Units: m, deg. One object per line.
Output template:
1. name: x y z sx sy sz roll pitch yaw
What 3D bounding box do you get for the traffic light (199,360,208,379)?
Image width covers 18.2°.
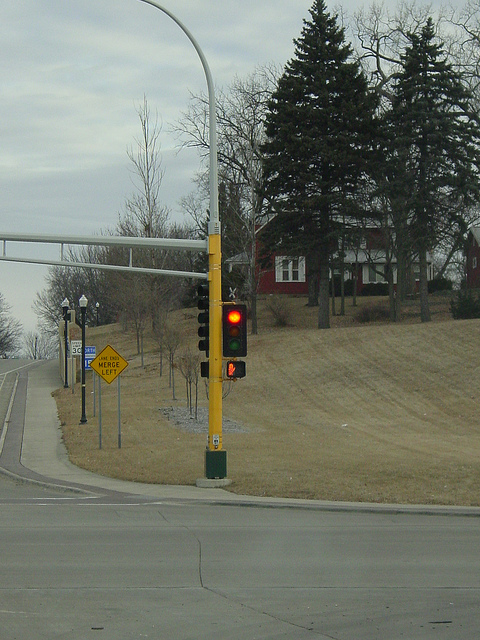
1. traffic light: -0.754 0.945 31.384 0.140 0.361 0.649 -1 0 -2

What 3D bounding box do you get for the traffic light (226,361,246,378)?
1. traffic light: -0.099 0.940 30.938 0.401 0.575 0.255 0 -1 -8

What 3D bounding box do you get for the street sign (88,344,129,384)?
1. street sign: -3.215 0.987 36.429 1.007 1.401 0.053 -1 44 -7

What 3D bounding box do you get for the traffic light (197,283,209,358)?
1. traffic light: -0.764 -0.041 31.330 0.241 1.514 0.649 -1 0 -2

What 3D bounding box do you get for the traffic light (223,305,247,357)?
1. traffic light: -0.115 0.197 30.898 0.474 1.464 0.353 1 -45 -1

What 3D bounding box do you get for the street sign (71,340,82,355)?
1. street sign: -5.502 0.812 50.057 0.052 0.597 0.390 -4 -3 28
